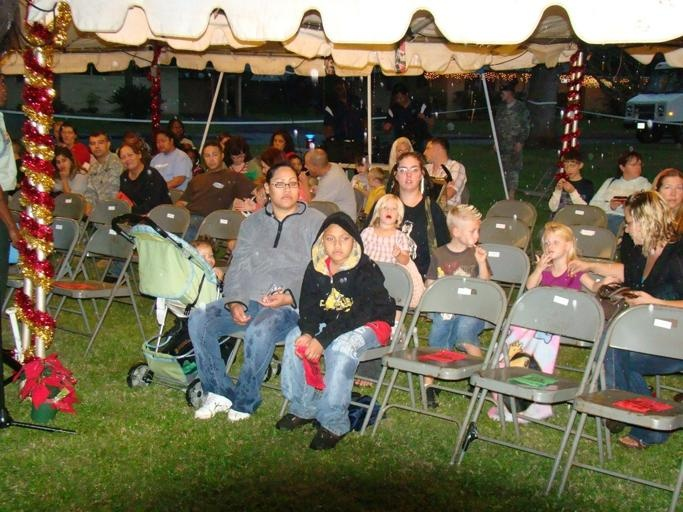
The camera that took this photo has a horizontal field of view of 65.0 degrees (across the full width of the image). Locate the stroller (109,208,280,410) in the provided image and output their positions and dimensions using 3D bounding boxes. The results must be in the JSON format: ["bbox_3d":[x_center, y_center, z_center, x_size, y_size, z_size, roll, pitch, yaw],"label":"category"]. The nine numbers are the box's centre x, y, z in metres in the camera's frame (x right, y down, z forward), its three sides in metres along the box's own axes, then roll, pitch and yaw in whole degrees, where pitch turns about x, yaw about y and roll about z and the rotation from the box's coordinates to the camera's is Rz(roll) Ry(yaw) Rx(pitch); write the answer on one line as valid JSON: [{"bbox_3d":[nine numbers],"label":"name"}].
[{"bbox_3d":[-1.331,0.440,4.819,0.841,1.559,1.453,3,2,26],"label":"stroller"}]

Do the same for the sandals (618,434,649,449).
[{"bbox_3d":[2.097,1.331,3.863,0.083,0.048,0.142,-7,7,-44],"label":"sandals"}]

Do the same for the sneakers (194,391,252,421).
[{"bbox_3d":[-0.913,1.229,4.297,0.486,0.205,0.183,27,-39,-25],"label":"sneakers"}]
